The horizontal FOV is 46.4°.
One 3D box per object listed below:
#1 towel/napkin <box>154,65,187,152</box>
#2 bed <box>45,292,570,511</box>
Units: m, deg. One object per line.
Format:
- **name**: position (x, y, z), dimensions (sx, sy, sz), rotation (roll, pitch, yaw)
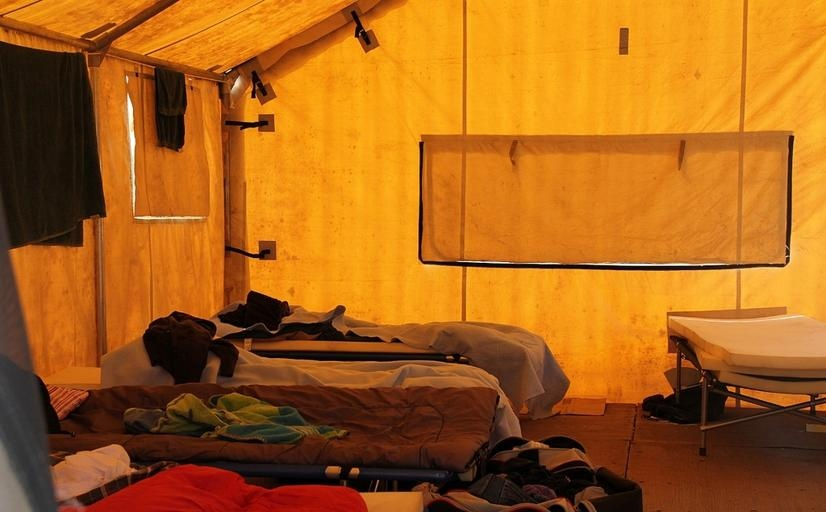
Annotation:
- **towel/napkin**: position (-2.178, -1.317, 8.566), dimensions (0.178, 0.750, 0.341), rotation (6, 8, 23)
- **bed**: position (-0.497, 0.928, 7.698), dimensions (3.532, 0.981, 1.777), rotation (3, 6, 1)
